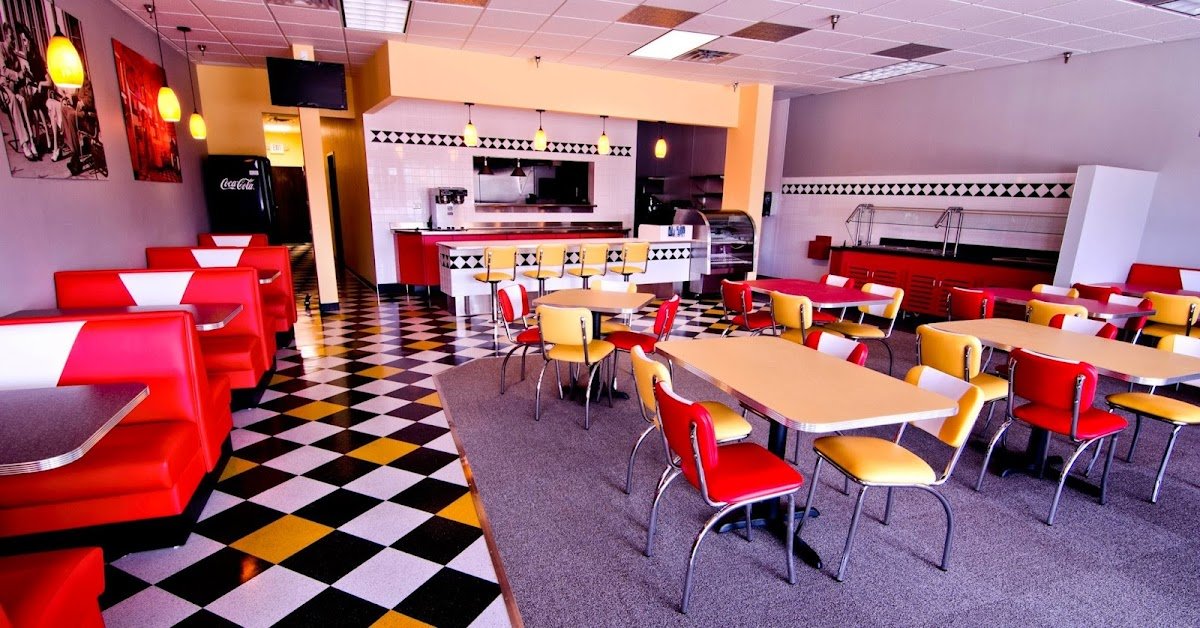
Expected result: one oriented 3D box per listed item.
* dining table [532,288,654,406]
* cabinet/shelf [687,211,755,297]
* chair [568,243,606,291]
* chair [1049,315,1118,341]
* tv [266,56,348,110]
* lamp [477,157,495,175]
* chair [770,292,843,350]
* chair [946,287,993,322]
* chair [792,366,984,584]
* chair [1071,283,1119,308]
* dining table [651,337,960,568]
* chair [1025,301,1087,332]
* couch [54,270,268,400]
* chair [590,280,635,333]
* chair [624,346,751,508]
[{"bbox_3d":[0.043,0.291,9.374,1.660,1.290,1.486,6,23,14],"label":"dining table"},{"bbox_3d":[2.312,-1.140,13.074,1.237,1.578,0.435,-2,15,-10],"label":"cabinet/shelf"},{"bbox_3d":[-0.181,-0.826,11.813,0.735,0.759,0.472,-5,15,-20],"label":"chair"},{"bbox_3d":[5.806,0.154,8.313,0.671,0.367,0.484,0,12,-46],"label":"chair"},{"bbox_3d":[-4.556,-3.564,10.700,1.402,0.779,0.174,-2,15,-18],"label":"tv"},{"bbox_3d":[-2.373,-3.056,14.439,0.388,0.380,0.219,-5,15,-24],"label":"lamp"},{"bbox_3d":[2.583,-0.032,9.090,0.750,0.922,0.785,-13,20,-29],"label":"chair"},{"bbox_3d":[4.873,-0.097,9.261,0.546,0.533,0.464,-10,16,-26],"label":"chair"},{"bbox_3d":[2.979,1.570,7.026,1.576,1.994,0.836,-1,15,-5],"label":"chair"},{"bbox_3d":[6.688,-0.238,9.298,0.350,0.329,0.267,-15,22,-21],"label":"chair"},{"bbox_3d":[2.246,1.650,7.663,2.590,1.893,2.844,-8,19,-23],"label":"dining table"},{"bbox_3d":[5.706,-0.024,8.634,0.545,0.390,0.421,-5,18,-42],"label":"chair"},{"bbox_3d":[-5.610,0.239,8.463,2.687,1.412,1.225,3,25,-2],"label":"couch"},{"bbox_3d":[0.180,-0.137,9.564,0.788,0.824,0.774,1,3,6],"label":"chair"},{"bbox_3d":[0.912,1.208,7.167,1.447,1.762,1.110,-9,26,-14],"label":"chair"}]
